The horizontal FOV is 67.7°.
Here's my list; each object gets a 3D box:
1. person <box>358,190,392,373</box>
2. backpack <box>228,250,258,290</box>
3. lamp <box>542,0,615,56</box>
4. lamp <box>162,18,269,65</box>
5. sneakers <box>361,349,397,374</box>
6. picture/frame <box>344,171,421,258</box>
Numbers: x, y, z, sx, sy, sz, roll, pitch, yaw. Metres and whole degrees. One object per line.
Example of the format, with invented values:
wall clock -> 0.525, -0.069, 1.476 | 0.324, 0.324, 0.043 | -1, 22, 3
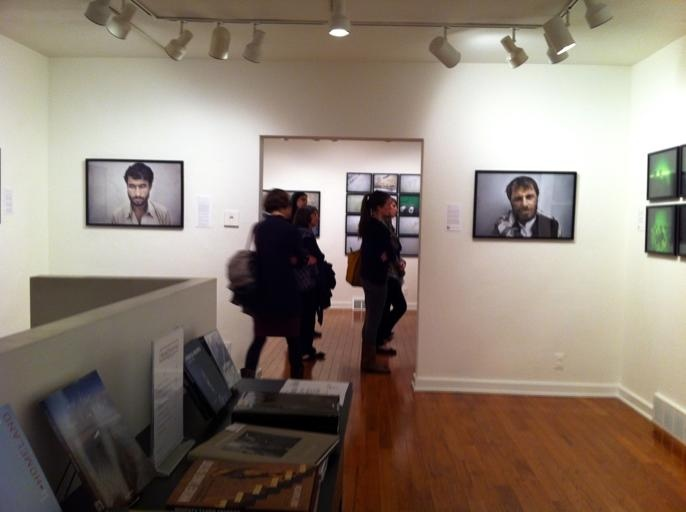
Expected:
person -> 0.332, 0.296, 5.287 | 0.341, 1.859, 0.326 | 1, 8, 0
backpack -> -0.911, 0.128, 4.631 | 0.235, 0.354, 0.341 | 2, 5, -5
lamp -> 1.666, -1.666, 3.770 | 0.350, 0.341, 0.615 | -1, 10, -8
lamp -> -1.013, -1.731, 4.221 | 0.832, 0.310, 0.394 | 3, 10, 13
sneakers -> 0.373, 1.137, 5.512 | 0.394, 0.318, 0.170 | -1, 2, -3
picture/frame -> 0.601, -0.617, 7.087 | 1.180, 1.364, 0.048 | 0, 0, 4
